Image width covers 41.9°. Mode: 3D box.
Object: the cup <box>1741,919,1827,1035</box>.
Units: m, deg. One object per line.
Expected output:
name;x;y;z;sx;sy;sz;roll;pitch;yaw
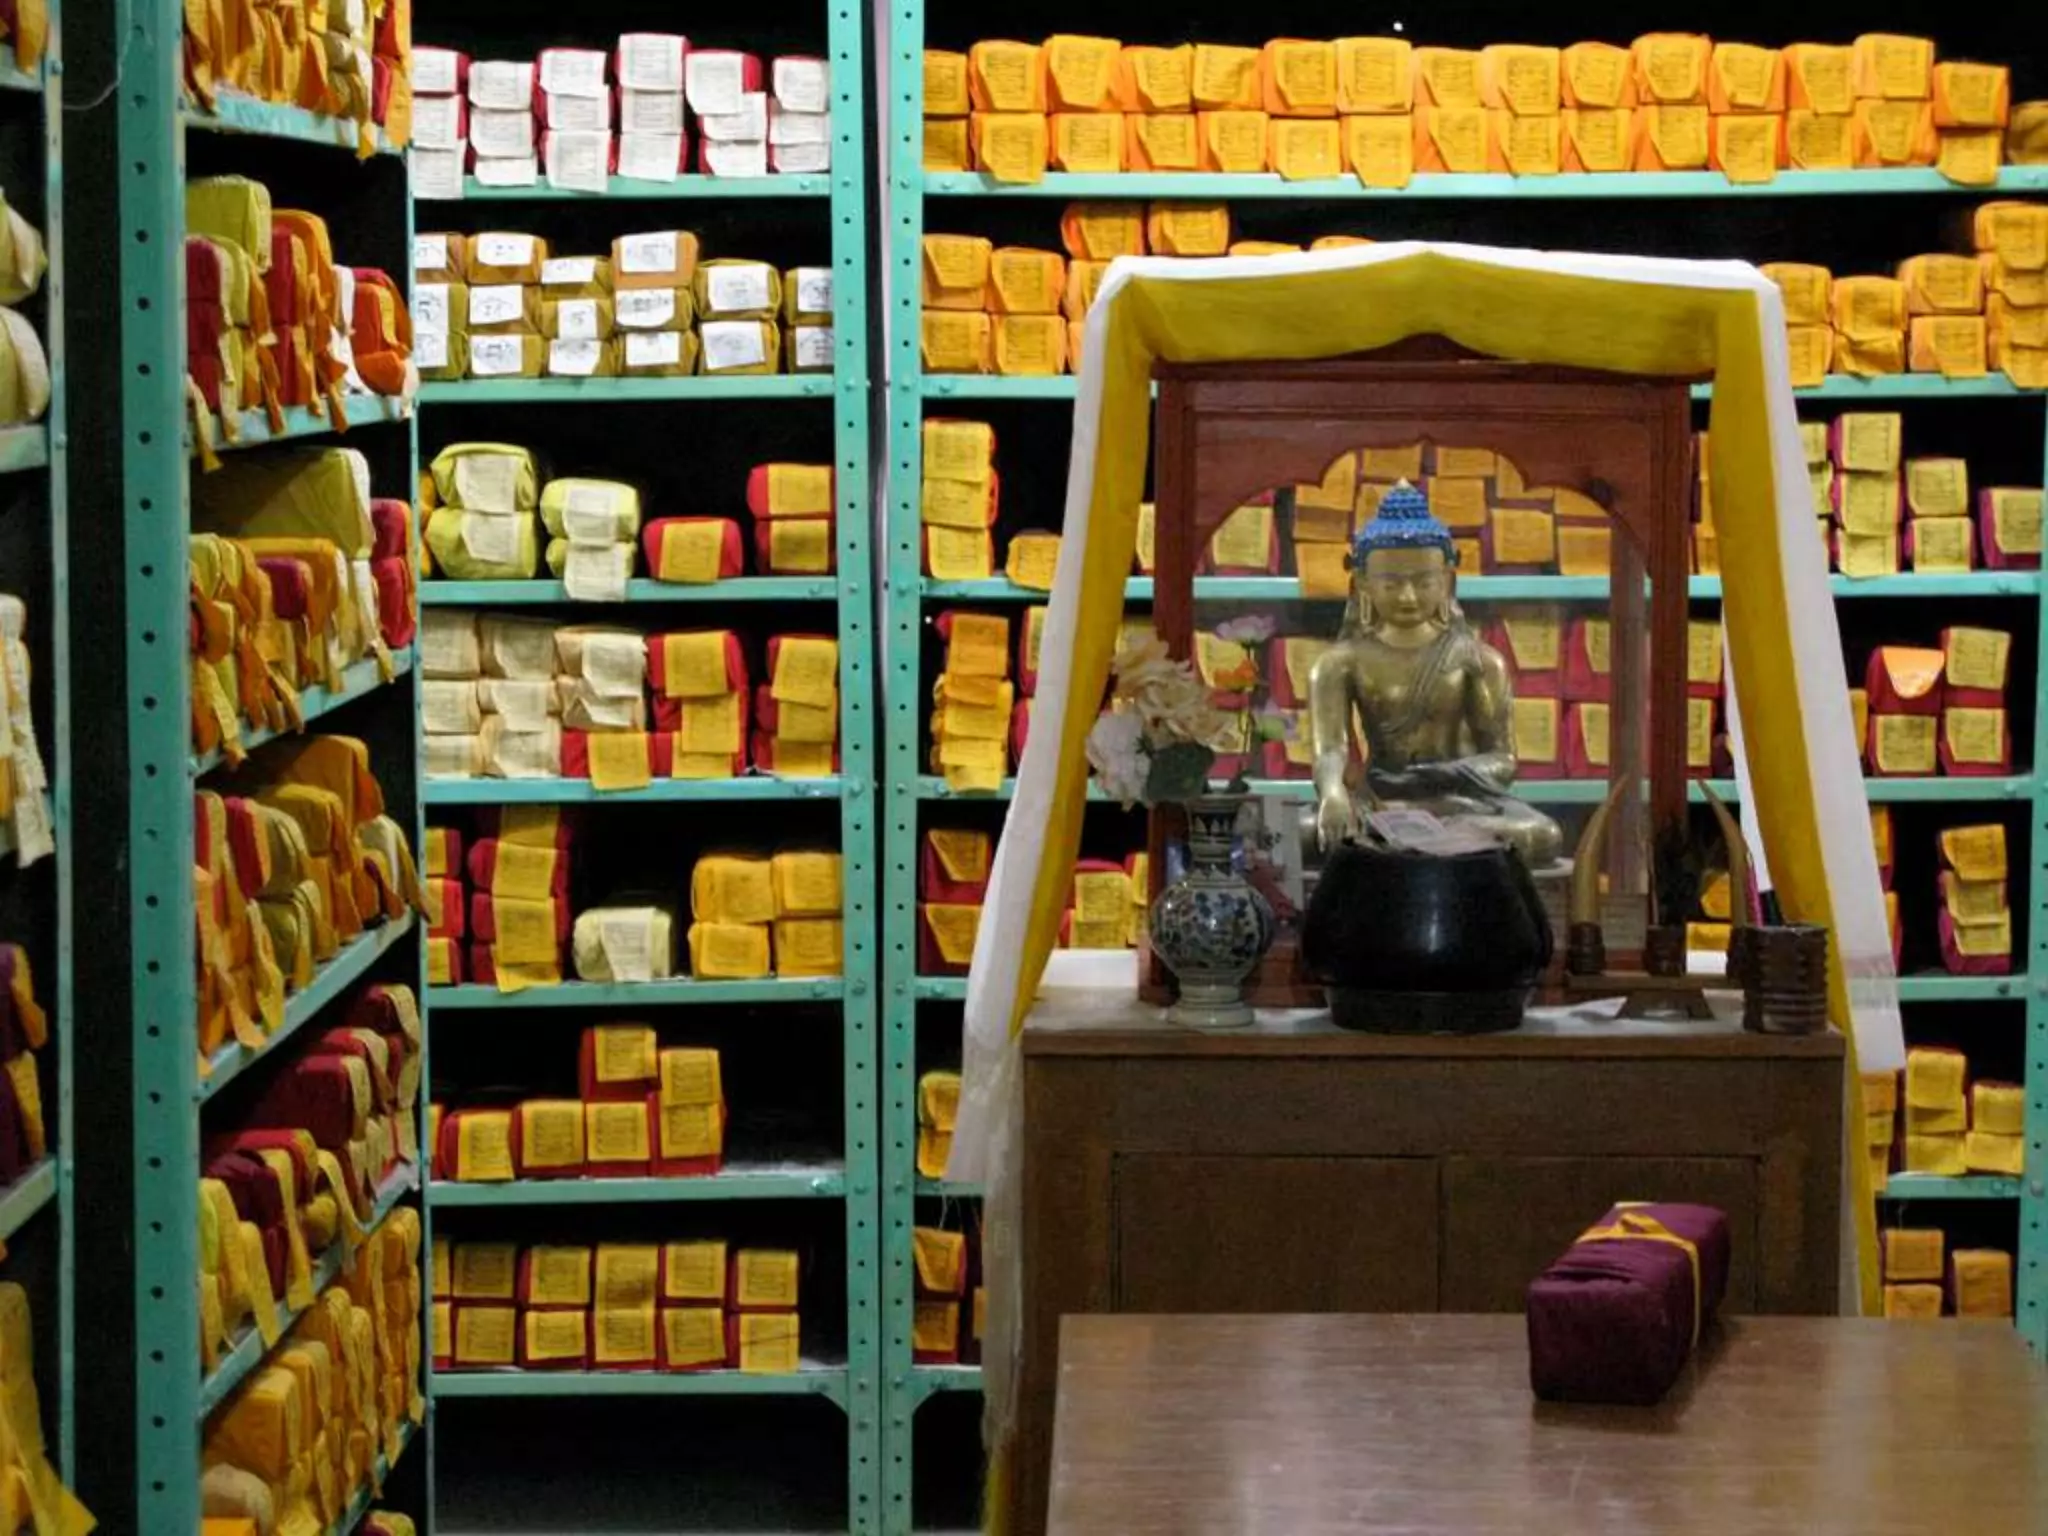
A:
cup;1.066;0.291;3.749;0.124;0.169;0.135;-1;1;0

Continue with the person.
person;0.547;-0.141;4.074;0.480;0.778;0.429;-1;5;0
